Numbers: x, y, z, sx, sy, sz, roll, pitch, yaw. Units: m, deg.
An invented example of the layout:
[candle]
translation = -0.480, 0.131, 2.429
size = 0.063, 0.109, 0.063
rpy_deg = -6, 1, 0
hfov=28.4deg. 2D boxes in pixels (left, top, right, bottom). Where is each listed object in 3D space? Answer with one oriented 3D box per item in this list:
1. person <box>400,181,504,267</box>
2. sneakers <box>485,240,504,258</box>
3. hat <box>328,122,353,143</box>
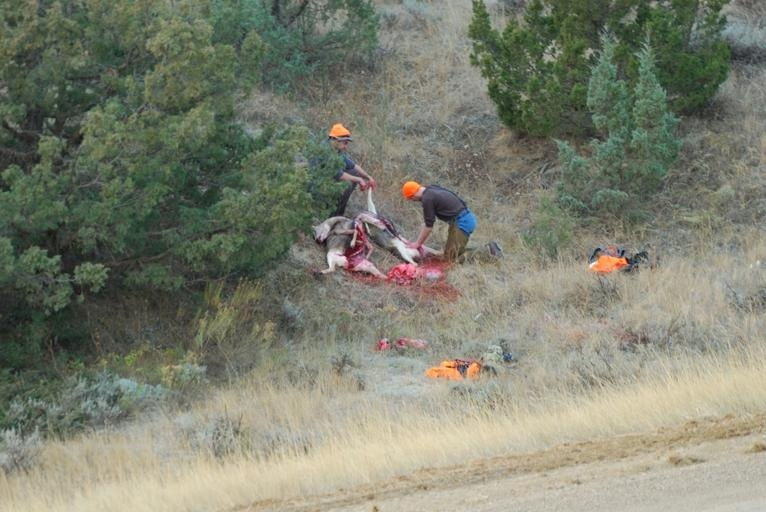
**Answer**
[person]
translation = 1.208, -0.790, 30.827
size = 1.271, 1.772, 0.693
rpy_deg = -7, 4, 3
[sneakers]
translation = 2.257, -0.238, 30.946
size = 0.244, 0.357, 0.153
rpy_deg = -7, -33, -38
[hat]
translation = -0.921, -2.529, 31.295
size = 0.358, 0.315, 0.554
rpy_deg = -3, 27, -14
